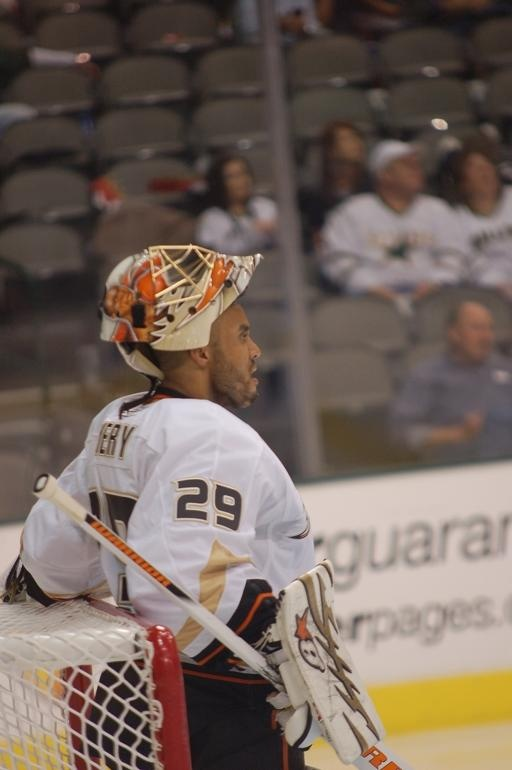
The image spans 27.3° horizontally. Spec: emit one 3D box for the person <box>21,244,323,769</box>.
[{"bbox_3d":[-0.184,0.225,1.907,0.556,0.832,0.744,-5,38,2],"label":"person"}]

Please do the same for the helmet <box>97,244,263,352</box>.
[{"bbox_3d":[-0.146,-0.156,1.918,0.289,0.149,0.162,5,6,-7],"label":"helmet"}]
